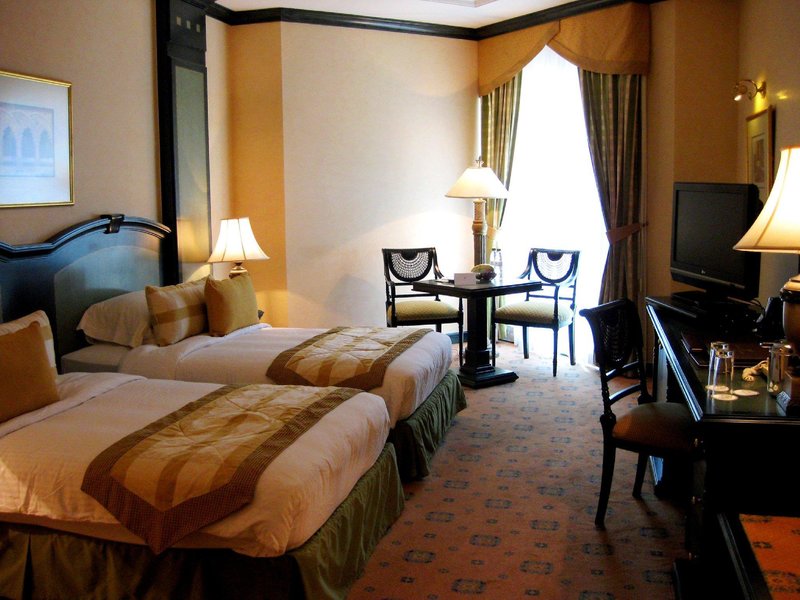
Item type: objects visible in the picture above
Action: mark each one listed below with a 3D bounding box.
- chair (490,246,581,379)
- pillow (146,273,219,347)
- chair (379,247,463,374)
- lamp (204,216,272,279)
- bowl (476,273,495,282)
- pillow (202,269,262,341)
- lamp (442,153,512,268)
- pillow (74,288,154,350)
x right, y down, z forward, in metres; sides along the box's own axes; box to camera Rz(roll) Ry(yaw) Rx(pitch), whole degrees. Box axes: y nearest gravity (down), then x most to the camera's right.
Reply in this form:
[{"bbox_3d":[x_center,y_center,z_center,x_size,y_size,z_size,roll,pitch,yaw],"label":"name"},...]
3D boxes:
[{"bbox_3d":[1.339,0.062,6.008,0.893,1.114,0.809,-5,9,-28],"label":"chair"},{"bbox_3d":[-1.587,0.075,4.677,0.221,0.456,0.729,1,8,19],"label":"pillow"},{"bbox_3d":[0.160,0.045,6.175,0.677,1.118,0.781,-6,9,-18],"label":"chair"},{"bbox_3d":[-1.412,-0.455,5.461,0.535,0.477,0.513,-5,6,-26],"label":"lamp"},{"bbox_3d":[0.781,-0.209,5.648,0.179,0.078,0.076,-11,16,-36],"label":"bowl"},{"bbox_3d":[-1.305,0.022,4.915,0.225,0.435,0.654,0,6,12],"label":"pillow"},{"bbox_3d":[0.738,-0.710,5.951,0.640,1.108,0.636,-1,7,-12],"label":"lamp"},{"bbox_3d":[-1.976,0.137,4.421,0.401,0.221,0.423,10,20,18],"label":"pillow"}]
